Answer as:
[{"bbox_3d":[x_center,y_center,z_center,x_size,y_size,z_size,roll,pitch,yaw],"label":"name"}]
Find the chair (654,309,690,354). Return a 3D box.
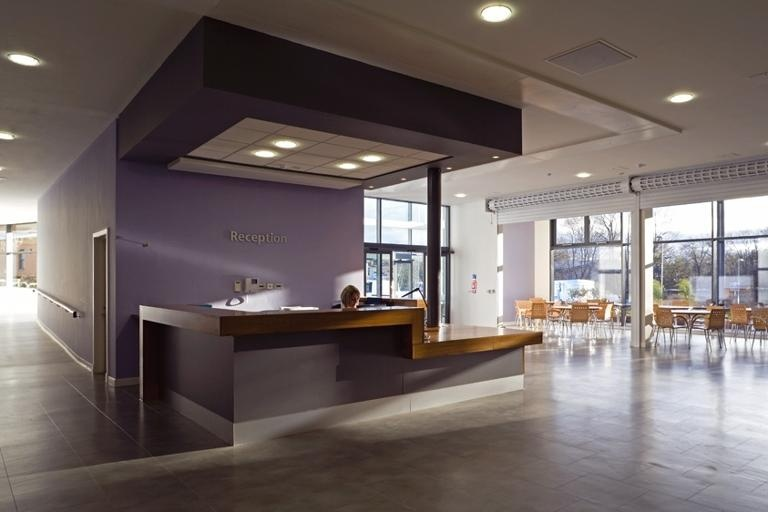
[{"bbox_3d":[7.243,1.755,12.691,0.688,0.878,0.743,-1,-5,43],"label":"chair"}]

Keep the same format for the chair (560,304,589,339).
[{"bbox_3d":[5.973,1.894,15.345,0.735,0.947,2.779,-1,-4,20],"label":"chair"}]

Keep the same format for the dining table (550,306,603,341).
[{"bbox_3d":[5.946,1.722,15.423,1.468,0.919,1.971,0,10,16],"label":"dining table"}]
